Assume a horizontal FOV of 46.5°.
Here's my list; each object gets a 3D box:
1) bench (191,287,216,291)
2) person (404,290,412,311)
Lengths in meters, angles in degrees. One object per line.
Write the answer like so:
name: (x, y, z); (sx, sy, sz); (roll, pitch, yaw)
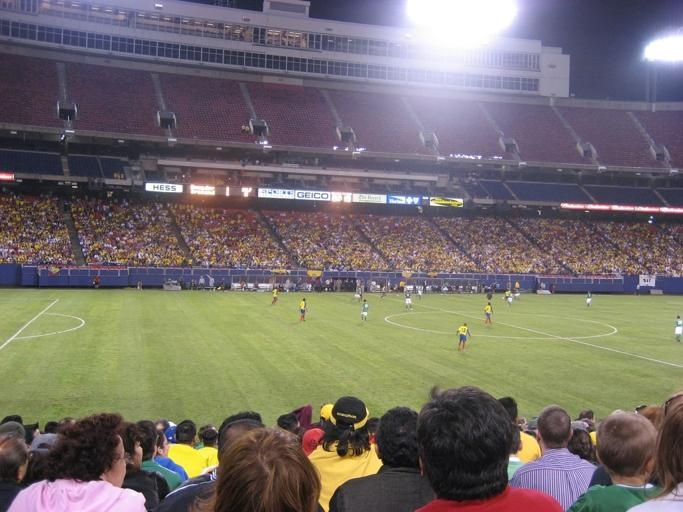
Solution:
bench: (-14.872, 3.451, 85.331); (2.619, 0.400, 0.948); (-2, -2, -17)
person: (6.255, 4.320, 74.686); (0.674, 2.117, 0.576); (3, 0, 3)
